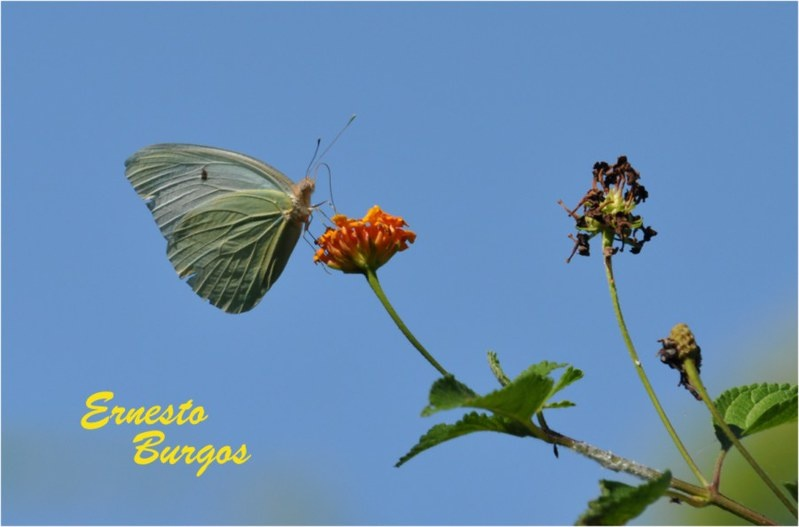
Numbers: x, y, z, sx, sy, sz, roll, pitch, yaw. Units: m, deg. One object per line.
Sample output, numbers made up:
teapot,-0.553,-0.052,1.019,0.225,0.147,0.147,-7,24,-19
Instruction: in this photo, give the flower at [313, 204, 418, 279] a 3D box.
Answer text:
flower,-0.265,-0.133,9.552,0.792,0.424,0.821,-7,-17,17
